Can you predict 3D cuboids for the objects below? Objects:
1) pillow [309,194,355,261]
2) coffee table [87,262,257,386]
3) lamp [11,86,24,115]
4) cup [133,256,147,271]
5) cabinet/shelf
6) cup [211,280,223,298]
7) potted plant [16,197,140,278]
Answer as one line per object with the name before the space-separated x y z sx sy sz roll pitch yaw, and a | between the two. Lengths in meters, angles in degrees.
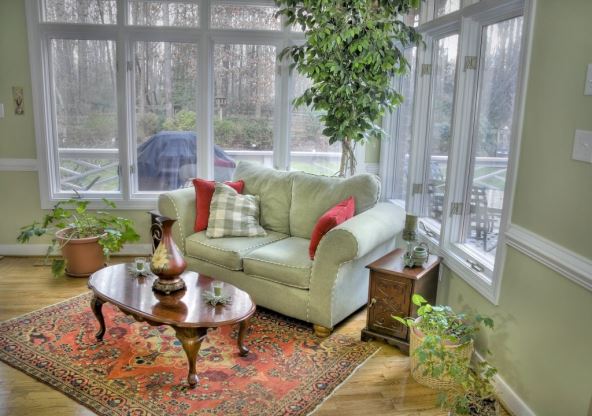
pillow | 0.337 0.191 3.499 0.276 0.450 0.547 11 17 35
coffee table | -0.898 0.809 3.107 1.254 0.602 0.613 8 16 28
lamp | -3.025 -1.168 4.657 0.118 0.302 0.038 0 15 -3
cup | -1.218 0.450 3.389 0.085 0.110 0.110 1 9 -35
cabinet/shelf | 0.738 0.696 3.515 0.555 0.793 0.722 13 17 40
cup | -0.547 0.571 2.964 0.092 0.112 0.092 2 -4 0
potted plant | -2.242 0.295 4.497 1.103 0.662 0.961 -7 11 -25
